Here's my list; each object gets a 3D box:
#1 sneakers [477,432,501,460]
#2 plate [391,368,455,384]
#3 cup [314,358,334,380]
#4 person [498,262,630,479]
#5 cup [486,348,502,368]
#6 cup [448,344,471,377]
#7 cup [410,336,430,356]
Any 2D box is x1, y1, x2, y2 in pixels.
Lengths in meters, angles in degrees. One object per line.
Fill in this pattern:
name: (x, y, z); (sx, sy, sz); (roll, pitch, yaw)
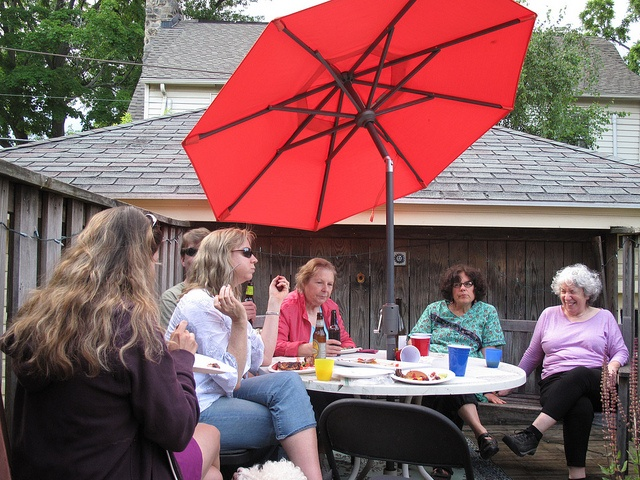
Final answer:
sneakers: (1.249, 1.528, 4.951); (0.103, 0.098, 0.225); (-25, -19, 0)
plate: (0.655, 0.848, 4.134); (0.391, 0.079, 0.266); (3, -7, -19)
cup: (0.028, 0.805, 4.149); (0.121, 0.127, 0.116); (0, -5, 0)
person: (2.036, 1.138, 5.485); (0.968, 1.911, 1.092); (-8, -30, 30)
cup: (1.194, 0.819, 4.604); (0.112, 0.130, 0.116); (1, -4, 0)
cup: (0.892, 0.782, 4.288); (0.162, 0.182, 0.172); (3, -6, 0)
cup: (0.719, 0.754, 4.747); (0.124, 0.132, 0.131); (-1, -5, 0)
